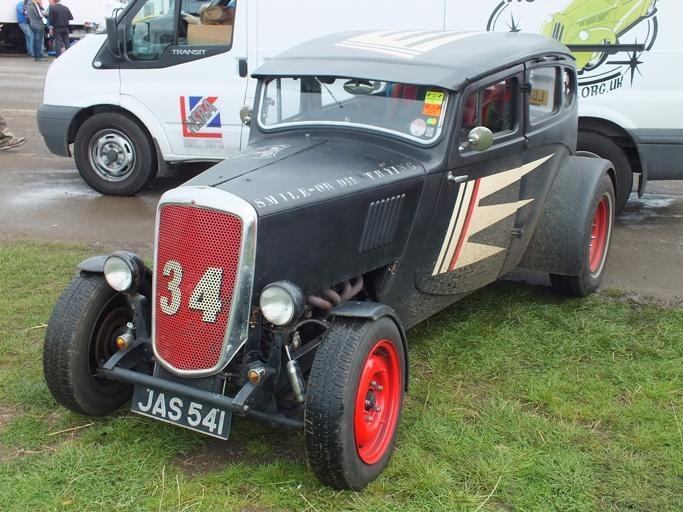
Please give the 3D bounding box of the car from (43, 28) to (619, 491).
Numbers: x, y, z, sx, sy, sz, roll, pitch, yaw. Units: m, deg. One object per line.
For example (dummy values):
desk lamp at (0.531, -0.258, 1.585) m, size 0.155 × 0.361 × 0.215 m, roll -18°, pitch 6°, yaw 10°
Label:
car at (0.357, -0.524, 4.655) m, size 2.441 × 2.241 × 4.613 m, roll 11°, pitch 24°, yaw 33°

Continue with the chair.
chair at (0.860, -1.137, 4.210) m, size 0.767 × 0.333 × 0.560 m, roll 7°, pitch 7°, yaw -27°
